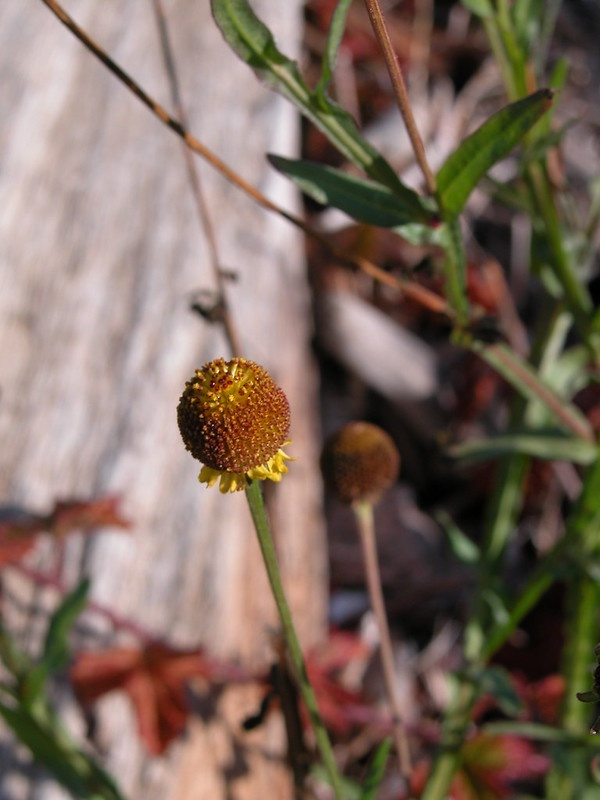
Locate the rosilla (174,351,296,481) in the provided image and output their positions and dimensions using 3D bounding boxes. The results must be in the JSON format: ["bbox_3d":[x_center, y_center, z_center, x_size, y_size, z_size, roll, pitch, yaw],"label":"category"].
[{"bbox_3d":[-0.033,0.008,0.439,0.060,0.028,0.059,39,78,7],"label":"rosilla"}]

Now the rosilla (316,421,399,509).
[{"bbox_3d":[0.042,0.042,0.571,0.047,0.063,0.061,-14,77,-5],"label":"rosilla"}]
